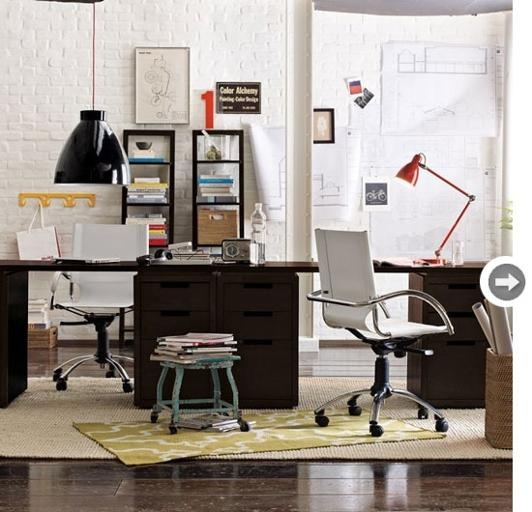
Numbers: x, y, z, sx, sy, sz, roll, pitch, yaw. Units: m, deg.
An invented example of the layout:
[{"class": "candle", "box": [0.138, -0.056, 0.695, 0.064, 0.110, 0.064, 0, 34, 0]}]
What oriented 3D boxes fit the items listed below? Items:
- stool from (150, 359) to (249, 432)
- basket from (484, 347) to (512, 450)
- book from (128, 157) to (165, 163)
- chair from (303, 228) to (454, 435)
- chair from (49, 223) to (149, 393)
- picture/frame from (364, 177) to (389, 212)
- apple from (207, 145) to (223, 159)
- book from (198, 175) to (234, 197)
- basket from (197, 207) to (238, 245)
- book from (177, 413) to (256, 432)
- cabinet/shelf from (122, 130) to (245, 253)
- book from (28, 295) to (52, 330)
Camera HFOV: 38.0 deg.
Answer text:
[{"class": "stool", "box": [-0.320, 0.658, 3.626, 0.377, 0.288, 0.399, 1, -6, -13]}, {"class": "basket", "box": [0.997, 0.609, 3.297, 0.093, 0.399, 0.283, 1, 5, 10]}, {"class": "book", "box": [-0.884, -0.701, 5.699, 0.257, 0.044, 0.171, -1, 5, -7]}, {"class": "chair", "box": [0.571, 0.351, 3.627, 0.662, 0.862, 0.631, 2, -1, -40]}, {"class": "chair", "box": [-0.983, 0.264, 4.530, 0.646, 0.906, 0.645, 0, 1, 7]}, {"class": "picture/frame", "box": [0.866, -0.491, 6.094, 0.297, 0.318, 0.029, 0, 0, -6]}, {"class": "apple", "box": [-0.389, -0.760, 5.685, 0.117, 0.109, 0.099, 1, 5, 14]}, {"class": "book", "box": [-0.361, -0.505, 5.665, 0.231, 0.105, 0.158, 0, 1, -2]}, {"class": "basket", "box": [-0.355, -0.182, 5.713, 0.300, 0.257, 0.206, -1, -14, 2]}, {"class": "book", "box": [-0.230, 0.765, 3.552, 0.341, 0.051, 0.246, 1, 5, 9]}, {"class": "cabinet/shelf", "box": [-0.586, -0.461, 5.555, 1.035, 1.090, 0.339, 0, -1, -2]}, {"class": "book", "box": [-1.704, 0.432, 5.891, 0.227, 0.237, 0.266, 0, -1, -12]}]
